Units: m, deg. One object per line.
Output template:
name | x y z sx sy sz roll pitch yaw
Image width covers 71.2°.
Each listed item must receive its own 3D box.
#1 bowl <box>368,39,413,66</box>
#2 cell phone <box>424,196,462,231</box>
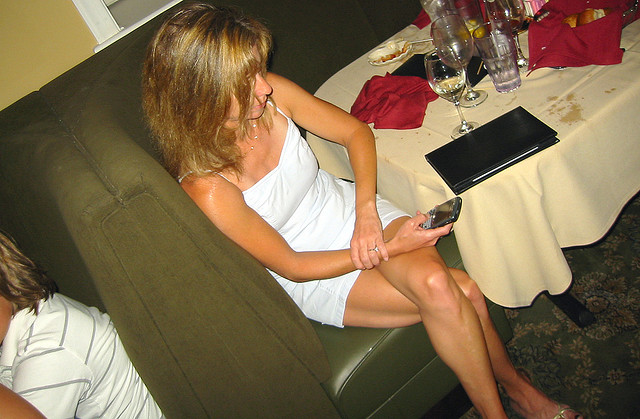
bowl | 0.328 -0.725 2.068 0.168 0.041 0.144 -20 53 19
cell phone | 0.419 0.012 1.527 0.123 0.107 0.079 6 47 28
